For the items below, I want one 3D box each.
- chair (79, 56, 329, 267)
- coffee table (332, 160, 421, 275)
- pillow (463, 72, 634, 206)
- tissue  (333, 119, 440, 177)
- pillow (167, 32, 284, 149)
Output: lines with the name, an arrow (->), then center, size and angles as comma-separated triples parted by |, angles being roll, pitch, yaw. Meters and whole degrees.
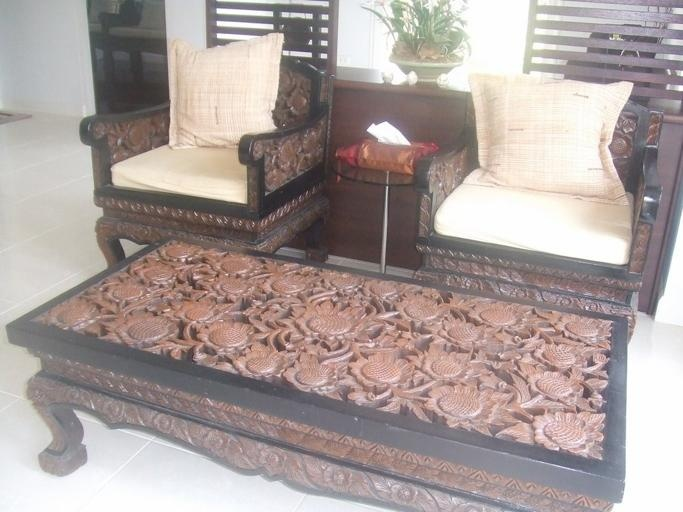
chair -> -0.655, -0.437, 2.983 | 0.921, 1.086, 0.867 | 11, 26, 15
coffee table -> 0.188, -0.187, 2.555 | 0.390, 0.411, 0.376 | 4, -7, 6
pillow -> 0.930, -0.543, 2.634 | 0.703, 0.483, 0.253 | 8, 20, 21
tissue  -> 0.202, -0.465, 2.609 | 0.331, 0.122, 0.348 | 12, 27, 15
pillow -> -0.589, -0.814, 2.932 | 0.778, 0.654, 0.262 | 0, 11, 9
